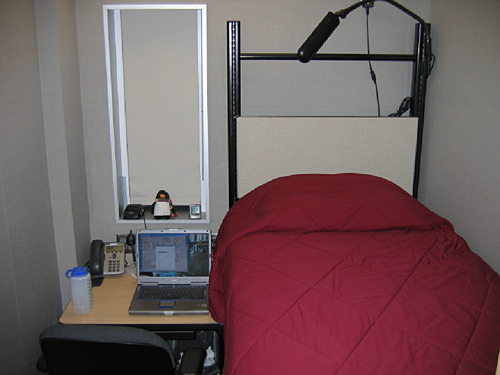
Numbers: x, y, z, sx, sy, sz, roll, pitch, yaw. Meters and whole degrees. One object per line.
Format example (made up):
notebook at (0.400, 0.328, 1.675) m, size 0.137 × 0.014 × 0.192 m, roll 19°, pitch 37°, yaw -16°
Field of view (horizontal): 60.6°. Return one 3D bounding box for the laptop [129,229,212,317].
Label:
laptop at (-0.458, 0.480, 2.487) m, size 0.528 × 0.370 × 0.471 m, roll 4°, pitch 14°, yaw 12°
